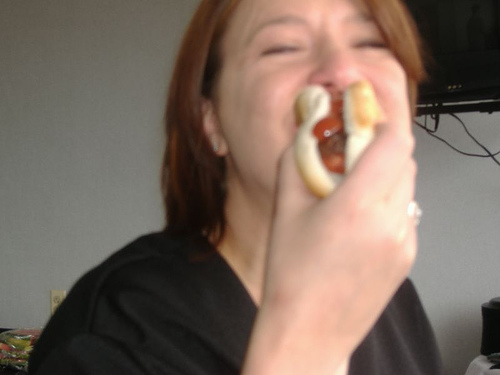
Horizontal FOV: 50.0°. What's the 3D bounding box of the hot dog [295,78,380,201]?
[{"bbox_3d":[0.153,-0.088,0.924,0.142,0.161,0.180,-3,29,4],"label":"hot dog"}]
